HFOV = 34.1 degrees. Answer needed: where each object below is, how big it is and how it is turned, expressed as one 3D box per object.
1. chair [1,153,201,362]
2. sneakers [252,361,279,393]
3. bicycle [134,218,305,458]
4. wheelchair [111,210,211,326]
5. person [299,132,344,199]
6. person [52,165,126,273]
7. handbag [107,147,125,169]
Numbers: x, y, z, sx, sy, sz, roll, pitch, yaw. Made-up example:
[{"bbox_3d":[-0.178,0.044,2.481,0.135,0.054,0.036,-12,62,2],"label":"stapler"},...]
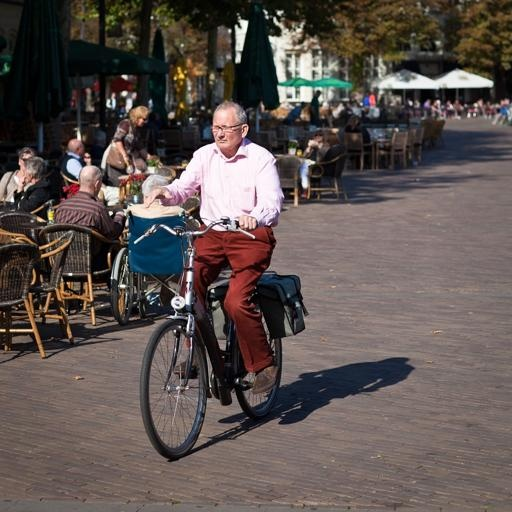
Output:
[{"bbox_3d":[-1.569,-0.114,7.899,1.428,1.665,1.741,3,15,5],"label":"chair"},{"bbox_3d":[0.061,0.689,4.787,0.088,0.083,0.205,-18,18,33],"label":"sneakers"},{"bbox_3d":[-0.127,0.410,4.664,0.646,1.302,1.287,1,10,12],"label":"bicycle"},{"bbox_3d":[-0.711,-0.003,7.935,0.958,1.257,1.165,1,24,4],"label":"wheelchair"},{"bbox_3d":[1.334,-1.846,17.457,0.754,1.399,1.344,-6,11,-26],"label":"person"},{"bbox_3d":[-1.562,-0.347,7.947,0.463,0.976,0.884,4,11,26],"label":"person"},{"bbox_3d":[-2.121,-1.449,12.667,0.292,0.323,0.128,11,12,23],"label":"handbag"}]
